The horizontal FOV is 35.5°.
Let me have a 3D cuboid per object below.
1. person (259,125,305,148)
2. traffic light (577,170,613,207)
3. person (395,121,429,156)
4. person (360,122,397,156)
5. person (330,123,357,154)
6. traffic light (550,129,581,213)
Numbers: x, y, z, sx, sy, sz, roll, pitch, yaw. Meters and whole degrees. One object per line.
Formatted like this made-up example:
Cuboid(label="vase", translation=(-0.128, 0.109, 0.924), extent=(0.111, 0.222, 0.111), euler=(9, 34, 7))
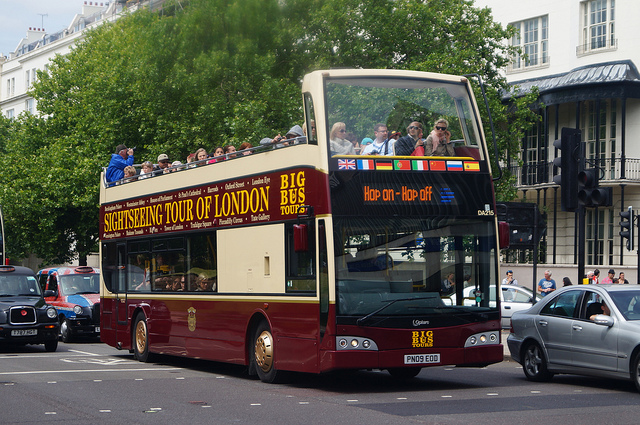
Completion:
Cuboid(label="person", translation=(-0.825, -1.739, 23.623), extent=(0.655, 0.326, 0.866), euler=(-5, 3, -34))
Cuboid(label="traffic light", translation=(6.916, -0.588, 25.360), extent=(0.807, 0.942, 0.746), euler=(2, 3, 11))
Cuboid(label="person", translation=(2.156, -1.576, 23.007), extent=(0.808, 1.013, 0.625), euler=(4, -2, -8))
Cuboid(label="person", translation=(1.353, -1.671, 22.749), extent=(0.820, 0.736, 0.349), euler=(1, 3, -4))
Cuboid(label="person", translation=(0.505, -1.639, 22.373), extent=(0.627, 0.694, 0.240), euler=(-1, 3, -36))
Cuboid(label="traffic light", translation=(6.419, -1.032, 25.910), extent=(0.951, 2.093, 0.831), euler=(0, 1, -25))
